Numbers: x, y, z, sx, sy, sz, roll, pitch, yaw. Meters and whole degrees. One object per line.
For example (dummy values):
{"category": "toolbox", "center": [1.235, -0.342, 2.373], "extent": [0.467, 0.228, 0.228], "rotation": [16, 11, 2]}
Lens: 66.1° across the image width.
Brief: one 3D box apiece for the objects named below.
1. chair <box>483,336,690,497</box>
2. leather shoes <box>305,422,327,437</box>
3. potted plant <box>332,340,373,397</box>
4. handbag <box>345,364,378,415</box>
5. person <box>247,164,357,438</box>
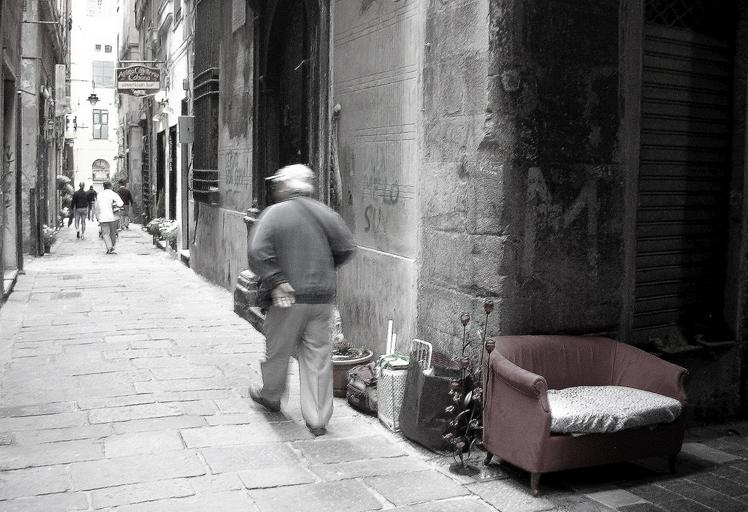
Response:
{"category": "chair", "center": [1.503, 1.133, 4.380], "extent": [1.477, 0.999, 1.090], "rotation": [2, -8, -20]}
{"category": "leather shoes", "center": [-0.498, 1.486, 5.005], "extent": [0.166, 0.096, 0.144], "rotation": [2, 5, -5]}
{"category": "potted plant", "center": [-0.240, 1.170, 6.048], "extent": [0.489, 0.369, 0.494], "rotation": [1, 0, -10]}
{"category": "handbag", "center": [-0.090, 1.270, 5.595], "extent": [0.335, 0.441, 0.469], "rotation": [1, 7, 4]}
{"category": "person", "center": [-0.655, 0.512, 5.050], "extent": [0.860, 2.007, 0.484], "rotation": [2, 6, 2]}
